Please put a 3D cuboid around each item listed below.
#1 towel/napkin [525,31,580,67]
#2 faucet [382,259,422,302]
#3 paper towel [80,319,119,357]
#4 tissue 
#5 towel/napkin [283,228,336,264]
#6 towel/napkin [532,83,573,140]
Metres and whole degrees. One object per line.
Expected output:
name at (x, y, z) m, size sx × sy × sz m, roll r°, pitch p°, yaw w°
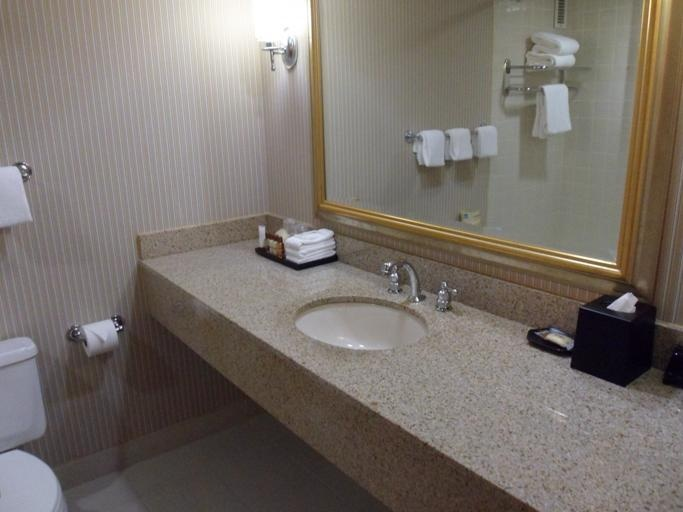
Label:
towel/napkin at (0.634, -0.617, 1.600) m, size 0.107 × 0.094 × 0.113 m, roll -18°, pitch 33°, yaw -29°
faucet at (0.229, 0.071, 2.065) m, size 0.088 × 0.134 × 0.194 m, roll -14°, pitch 26°, yaw -24°
paper towel at (-1.107, 0.367, 2.450) m, size 0.143 × 0.144 × 0.148 m, roll 36°, pitch 31°, yaw 32°
tissue  at (0.790, 0.233, 1.543) m, size 0.213 × 0.207 × 0.153 m, roll -18°, pitch 24°, yaw -31°
towel/napkin at (-0.151, -0.085, 2.426) m, size 0.155 × 0.089 × 0.168 m, roll -16°, pitch 20°, yaw -29°
towel/napkin at (0.642, -0.445, 1.620) m, size 0.105 × 0.166 × 0.085 m, roll -13°, pitch 34°, yaw -9°
